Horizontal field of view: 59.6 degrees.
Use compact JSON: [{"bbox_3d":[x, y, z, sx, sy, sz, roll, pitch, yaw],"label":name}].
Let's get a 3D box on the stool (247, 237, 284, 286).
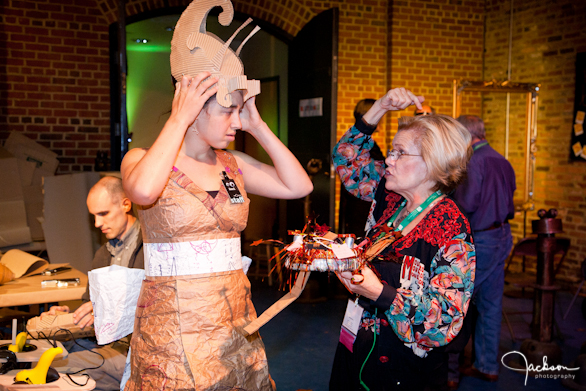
[{"bbox_3d":[-0.362,0.918,7.113,0.496,0.542,0.451,0,2,-35],"label":"stool"}]
